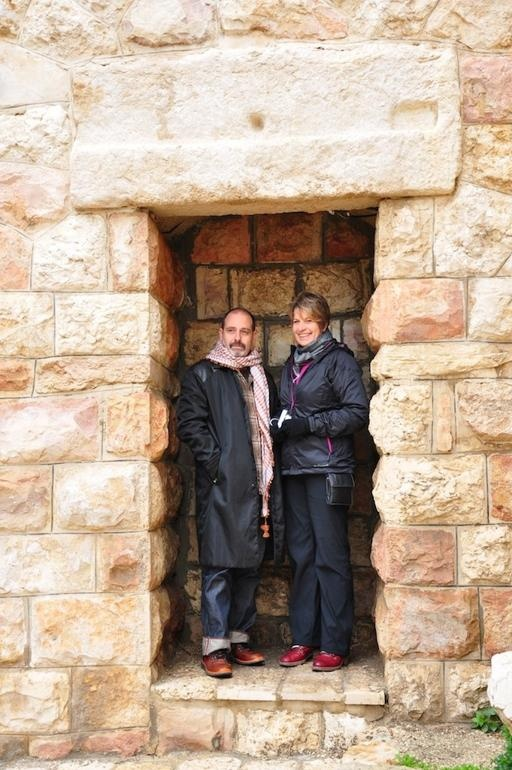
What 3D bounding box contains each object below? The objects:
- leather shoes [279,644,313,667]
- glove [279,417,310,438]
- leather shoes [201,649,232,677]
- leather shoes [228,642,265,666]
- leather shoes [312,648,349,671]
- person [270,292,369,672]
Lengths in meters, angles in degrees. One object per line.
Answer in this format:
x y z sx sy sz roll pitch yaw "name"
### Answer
0.160 1.072 3.781 0.081 0.071 0.172 -8 -8 29 "leather shoes"
0.146 0.164 3.757 0.139 0.066 0.041 -9 -9 39 "glove"
-0.151 1.054 3.601 0.105 0.092 0.151 -3 -7 -5 "leather shoes"
-0.044 1.081 3.817 0.060 0.066 0.170 6 -13 -35 "leather shoes"
0.285 1.062 3.668 0.132 0.057 0.057 17 -23 -41 "leather shoes"
0.282 0.355 3.787 0.500 1.490 0.263 -8 -8 28 "person"
